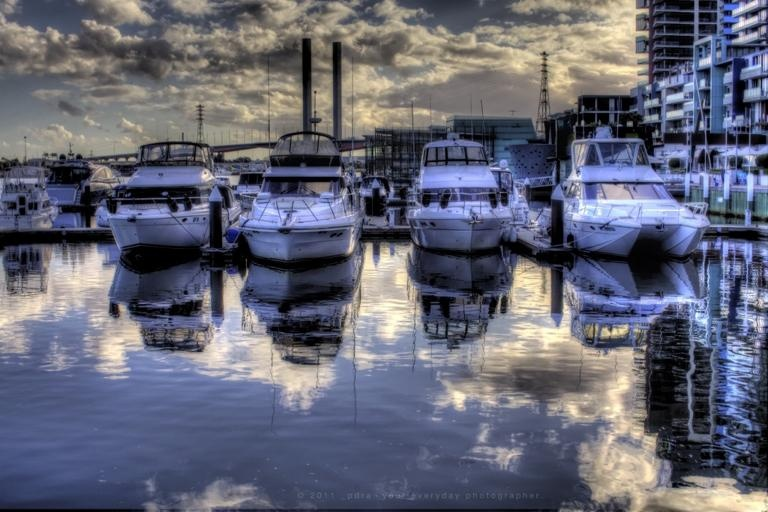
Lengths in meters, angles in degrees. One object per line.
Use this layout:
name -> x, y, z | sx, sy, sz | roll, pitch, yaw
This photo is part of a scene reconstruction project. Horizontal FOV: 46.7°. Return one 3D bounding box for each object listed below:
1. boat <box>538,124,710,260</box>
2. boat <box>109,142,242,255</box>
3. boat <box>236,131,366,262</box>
boat -> 8.035, -2.026, 29.827 | 3.487, 4.166, 4.747 | -2, 2, -15
boat -> -8.066, -2.318, 34.063 | 4.309, 4.005, 9.991 | 0, 2, -3
boat -> -2.535, -1.993, 28.639 | 3.549, 4.349, 4.573 | -1, 2, -1
